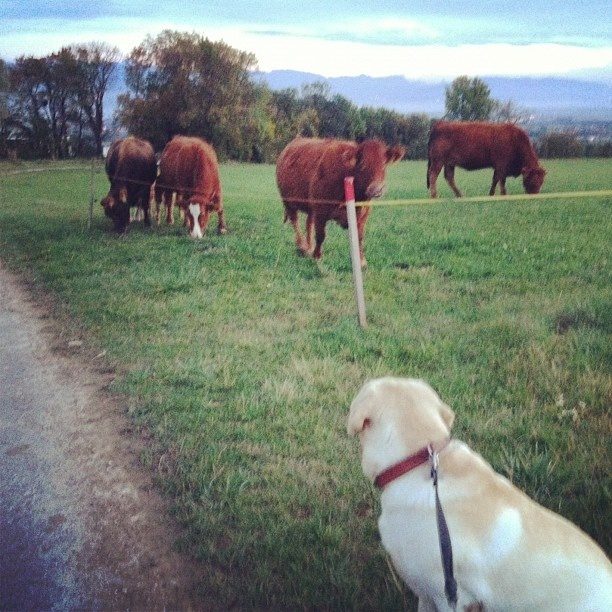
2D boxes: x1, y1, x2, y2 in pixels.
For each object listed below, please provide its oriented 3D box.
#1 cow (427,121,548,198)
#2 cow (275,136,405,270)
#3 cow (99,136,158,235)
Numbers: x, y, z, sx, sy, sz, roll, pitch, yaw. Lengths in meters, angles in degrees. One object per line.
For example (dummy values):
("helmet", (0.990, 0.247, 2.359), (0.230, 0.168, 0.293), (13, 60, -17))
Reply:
("cow", (2.057, -1.650, 8.980), (1.323, 0.983, 0.832), (7, 15, 11))
("cow", (0.275, -1.287, 8.736), (1.334, 1.213, 0.744), (5, 14, 8))
("cow", (-2.294, -1.589, 10.286), (0.421, 1.049, 1.781), (-1, 27, -9))
